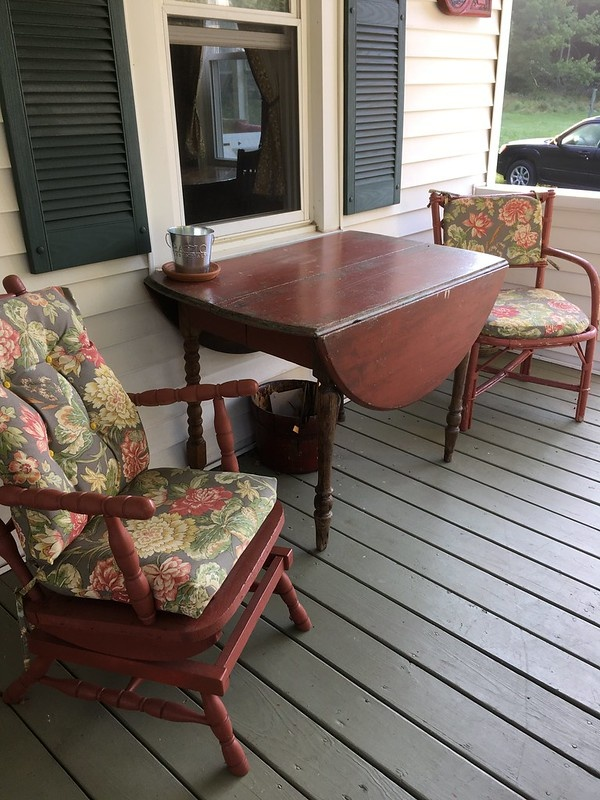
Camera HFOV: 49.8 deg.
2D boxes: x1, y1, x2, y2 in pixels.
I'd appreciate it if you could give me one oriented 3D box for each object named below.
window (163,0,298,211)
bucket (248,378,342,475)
[{"bbox_3d":[-0.261,-1.070,2.304,0.061,0.823,0.743,13,22,37],"label":"window"},{"bbox_3d":[-0.028,0.124,2.629,0.347,0.286,0.403,9,36,13],"label":"bucket"}]
